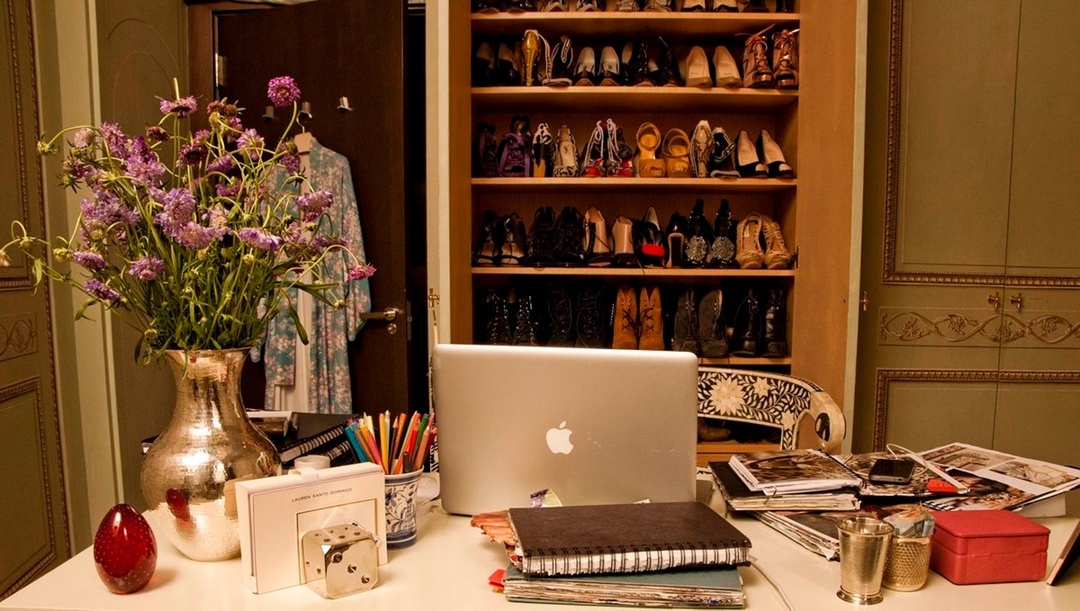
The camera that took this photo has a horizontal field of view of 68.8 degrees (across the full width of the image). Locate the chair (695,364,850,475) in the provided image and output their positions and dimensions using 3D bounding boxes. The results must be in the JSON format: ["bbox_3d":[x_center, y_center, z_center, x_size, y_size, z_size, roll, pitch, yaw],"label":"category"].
[{"bbox_3d":[0.989,0.446,3.390,0.581,0.697,0.515,3,14,11],"label":"chair"}]

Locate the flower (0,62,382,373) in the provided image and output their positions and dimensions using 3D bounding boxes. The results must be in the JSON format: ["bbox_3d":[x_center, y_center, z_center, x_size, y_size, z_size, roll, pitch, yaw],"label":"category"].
[{"bbox_3d":[-0.992,-0.153,3.034,1.589,1.069,1.259,0,5,-13],"label":"flower"}]
